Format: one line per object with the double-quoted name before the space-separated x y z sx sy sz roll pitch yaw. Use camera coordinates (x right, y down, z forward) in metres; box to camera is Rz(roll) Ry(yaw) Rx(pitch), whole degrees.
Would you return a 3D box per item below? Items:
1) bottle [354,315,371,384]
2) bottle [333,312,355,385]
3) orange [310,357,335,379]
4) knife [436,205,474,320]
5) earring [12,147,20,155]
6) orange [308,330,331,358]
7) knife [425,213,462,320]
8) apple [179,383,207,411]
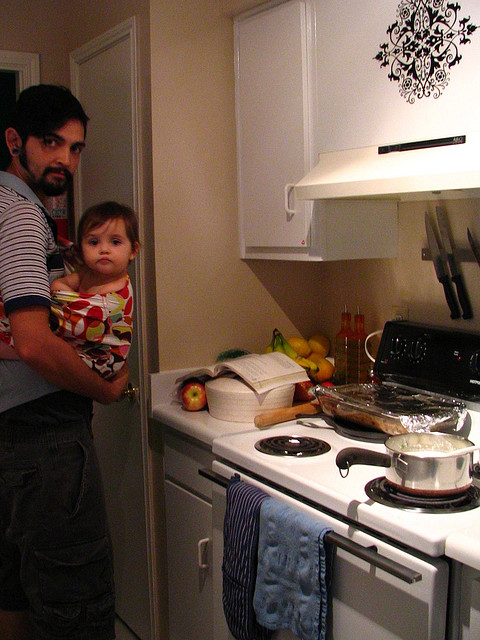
"bottle" 0.439 0.102 1.769 0.056 0.233 0.067 0 5 17
"bottle" 0.384 0.111 1.831 0.068 0.266 0.143 -1 5 4
"orange" 0.307 0.185 1.852 0.059 0.057 0.080 -4 -7 -39
"knife" 0.637 -0.153 1.463 0.043 0.502 0.037 -10 -10 24
"earring" -0.534 -0.406 1.180 0.014 0.019 0.004 4 -2 18
"orange" 0.333 0.098 2.068 0.072 0.121 0.088 6 0 11
"knife" 0.612 -0.152 1.498 0.056 0.477 0.034 -14 -16 33
"apple" -0.153 0.253 1.643 0.074 0.086 0.076 32 -5 1
